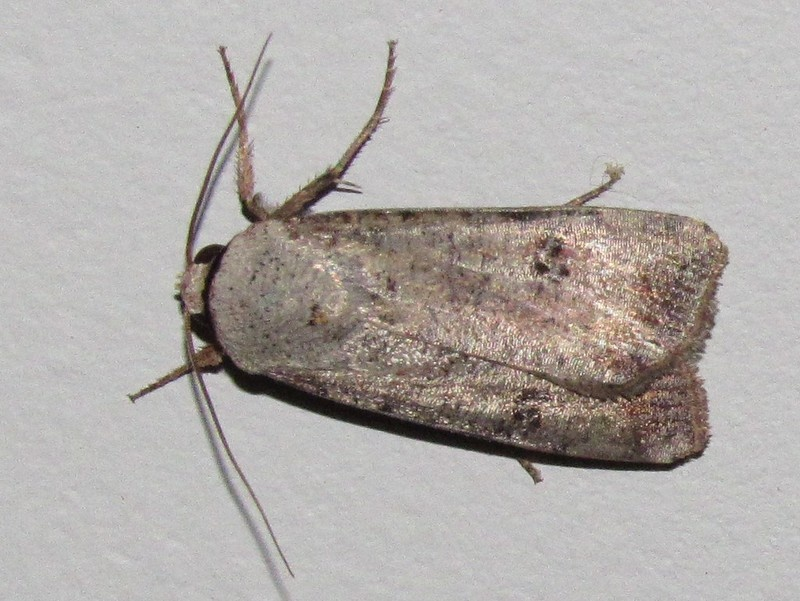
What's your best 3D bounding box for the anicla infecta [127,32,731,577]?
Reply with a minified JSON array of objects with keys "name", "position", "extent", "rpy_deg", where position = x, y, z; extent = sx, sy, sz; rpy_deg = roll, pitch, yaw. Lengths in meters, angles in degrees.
[{"name":"anicla infecta","position":[0.209,0.082,8.157],"extent":[3.329,0.656,2.925],"rpy_deg":[3,97,6]}]
